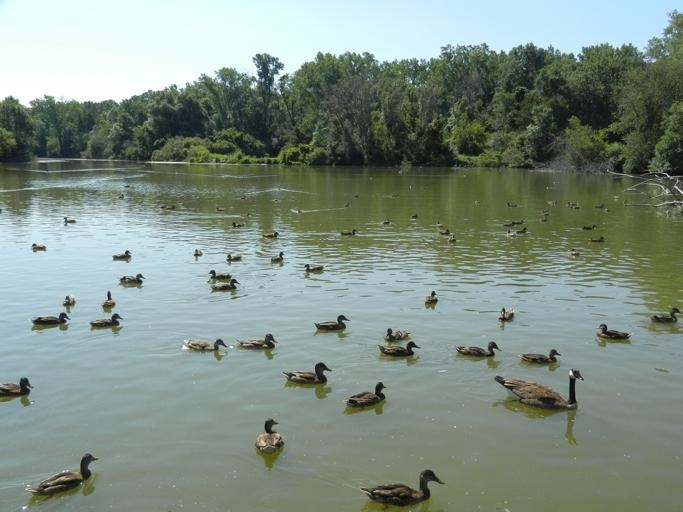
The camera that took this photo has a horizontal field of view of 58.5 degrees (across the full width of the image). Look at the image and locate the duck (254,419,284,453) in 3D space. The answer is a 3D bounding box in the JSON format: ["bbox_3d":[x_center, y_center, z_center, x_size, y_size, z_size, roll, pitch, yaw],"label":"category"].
[{"bbox_3d":[-2.255,5.570,19.057,0.907,0.722,1.037,-1,13,-7],"label":"duck"}]
